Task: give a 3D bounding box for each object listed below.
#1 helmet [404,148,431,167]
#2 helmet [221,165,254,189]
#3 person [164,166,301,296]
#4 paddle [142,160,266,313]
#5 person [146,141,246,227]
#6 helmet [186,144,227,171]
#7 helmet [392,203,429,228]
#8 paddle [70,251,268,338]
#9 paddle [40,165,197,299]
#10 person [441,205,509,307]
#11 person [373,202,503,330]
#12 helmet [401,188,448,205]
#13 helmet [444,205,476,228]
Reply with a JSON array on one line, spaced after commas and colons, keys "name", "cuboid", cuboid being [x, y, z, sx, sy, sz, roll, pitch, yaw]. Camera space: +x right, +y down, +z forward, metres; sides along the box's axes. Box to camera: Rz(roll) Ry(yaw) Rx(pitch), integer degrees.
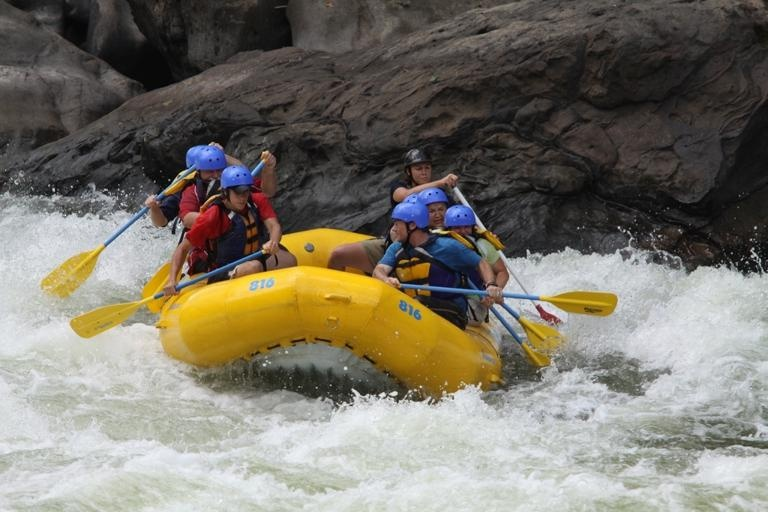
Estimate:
[{"name": "helmet", "cuboid": [0.386, -1.115, 11.586, 0.278, 0.200, 0.255, 8, 25, 2]}, {"name": "helmet", "cuboid": [-1.538, -0.819, 10.592, 0.227, 0.171, 0.286, -2, 6, -35]}, {"name": "person", "cuboid": [-1.636, -0.253, 10.887, 0.810, 1.166, 0.981, 29, 45, 29]}, {"name": "paddle", "cuboid": [-1.892, -0.183, 10.924, 0.562, 2.108, 0.303, 40, -4, 23]}, {"name": "person", "cuboid": [-2.197, -0.862, 12.072, 1.395, 0.579, 1.775, -24, 10, 5]}, {"name": "helmet", "cuboid": [-1.994, -1.096, 11.381, 0.310, 0.154, 0.454, -6, 0, -25]}, {"name": "helmet", "cuboid": [0.280, -0.442, 10.448, 0.327, 0.240, 0.249, -6, 11, 0]}, {"name": "paddle", "cuboid": [-2.233, 0.418, 10.692, 2.210, 0.271, 0.151, -21, 16, -15]}, {"name": "paddle", "cuboid": [-3.222, -0.259, 12.551, 2.123, 0.398, 0.099, -37, 18, -2]}, {"name": "person", "cuboid": [0.975, -0.083, 10.752, 0.459, 1.074, 0.662, -39, 12, -8]}, {"name": "person", "cuboid": [0.544, 0.135, 10.425, 0.718, 1.069, 1.052, -17, -8, -30]}, {"name": "helmet", "cuboid": [0.448, -0.629, 10.718, 0.326, 0.122, 0.225, -5, 6, -6]}, {"name": "helmet", "cuboid": [0.797, -0.425, 10.657, 0.228, 0.202, 0.265, -1, 8, 34]}]
